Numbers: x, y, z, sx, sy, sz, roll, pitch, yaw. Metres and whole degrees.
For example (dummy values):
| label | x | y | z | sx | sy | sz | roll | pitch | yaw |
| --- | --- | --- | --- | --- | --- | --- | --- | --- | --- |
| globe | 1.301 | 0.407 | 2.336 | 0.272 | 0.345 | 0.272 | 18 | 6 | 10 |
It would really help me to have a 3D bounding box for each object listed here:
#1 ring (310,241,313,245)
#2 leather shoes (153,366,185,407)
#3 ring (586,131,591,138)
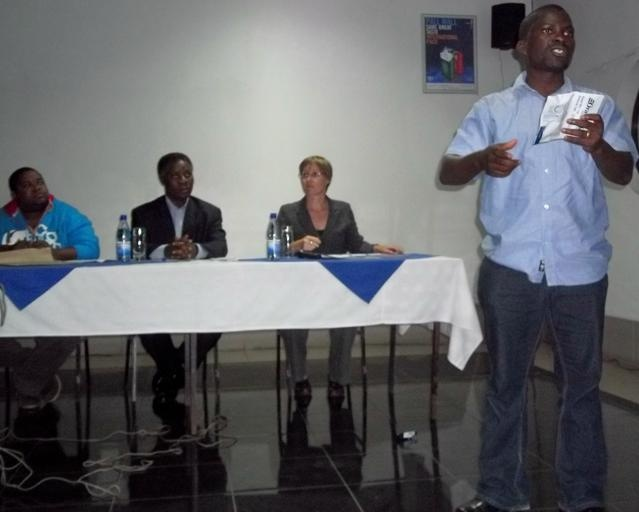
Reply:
| label | x | y | z | sx | sy | sz | roll | pitch | yaw |
| --- | --- | --- | --- | --- | --- | --- | --- | --- | --- |
| ring | -0.047 | -0.077 | 3.329 | 0.010 | 0.012 | 0.010 | -1 | 29 | 1 |
| leather shoes | -0.939 | 0.788 | 3.596 | 0.192 | 0.209 | 0.078 | 9 | 16 | 15 |
| ring | 0.953 | -0.435 | 2.071 | 0.017 | 0.018 | 0.004 | 5 | 10 | 16 |
